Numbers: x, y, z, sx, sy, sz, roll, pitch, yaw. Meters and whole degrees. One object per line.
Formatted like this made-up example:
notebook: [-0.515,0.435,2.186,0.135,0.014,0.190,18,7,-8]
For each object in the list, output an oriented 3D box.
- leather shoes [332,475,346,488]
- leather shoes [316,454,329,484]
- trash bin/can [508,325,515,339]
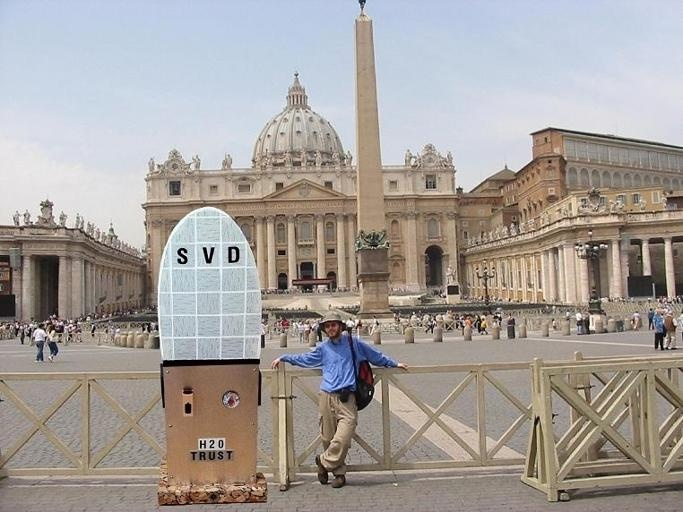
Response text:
leather shoes: [-0.045,3.335,13.737,0.245,0.191,0.223,0,-3,-16]
leather shoes: [-0.312,3.215,13.764,0.153,0.187,0.445,1,-43,-3]
trash bin/can: [6.677,2.976,36.363,0.256,0.508,0.599,-1,-3,8]
